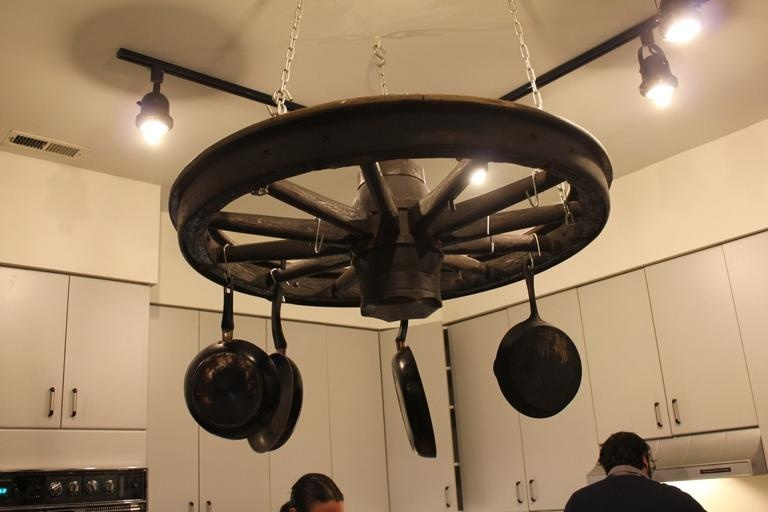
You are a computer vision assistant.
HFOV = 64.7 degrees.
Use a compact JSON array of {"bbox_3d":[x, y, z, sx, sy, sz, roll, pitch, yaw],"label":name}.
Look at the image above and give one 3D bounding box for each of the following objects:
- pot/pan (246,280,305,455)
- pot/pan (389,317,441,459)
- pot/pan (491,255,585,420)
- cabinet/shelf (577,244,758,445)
[{"bbox_3d":[-0.275,0.302,1.608,0.059,0.406,0.220,1,-14,-24],"label":"pot/pan"},{"bbox_3d":[0.085,0.333,1.631,0.099,0.437,0.067,-19,-42,8],"label":"pot/pan"},{"bbox_3d":[0.384,0.226,1.554,0.212,0.362,0.053,-7,-9,-23],"label":"pot/pan"},{"bbox_3d":[1.644,0.515,3.431,0.859,1.104,0.410,-21,-27,38],"label":"cabinet/shelf"}]
